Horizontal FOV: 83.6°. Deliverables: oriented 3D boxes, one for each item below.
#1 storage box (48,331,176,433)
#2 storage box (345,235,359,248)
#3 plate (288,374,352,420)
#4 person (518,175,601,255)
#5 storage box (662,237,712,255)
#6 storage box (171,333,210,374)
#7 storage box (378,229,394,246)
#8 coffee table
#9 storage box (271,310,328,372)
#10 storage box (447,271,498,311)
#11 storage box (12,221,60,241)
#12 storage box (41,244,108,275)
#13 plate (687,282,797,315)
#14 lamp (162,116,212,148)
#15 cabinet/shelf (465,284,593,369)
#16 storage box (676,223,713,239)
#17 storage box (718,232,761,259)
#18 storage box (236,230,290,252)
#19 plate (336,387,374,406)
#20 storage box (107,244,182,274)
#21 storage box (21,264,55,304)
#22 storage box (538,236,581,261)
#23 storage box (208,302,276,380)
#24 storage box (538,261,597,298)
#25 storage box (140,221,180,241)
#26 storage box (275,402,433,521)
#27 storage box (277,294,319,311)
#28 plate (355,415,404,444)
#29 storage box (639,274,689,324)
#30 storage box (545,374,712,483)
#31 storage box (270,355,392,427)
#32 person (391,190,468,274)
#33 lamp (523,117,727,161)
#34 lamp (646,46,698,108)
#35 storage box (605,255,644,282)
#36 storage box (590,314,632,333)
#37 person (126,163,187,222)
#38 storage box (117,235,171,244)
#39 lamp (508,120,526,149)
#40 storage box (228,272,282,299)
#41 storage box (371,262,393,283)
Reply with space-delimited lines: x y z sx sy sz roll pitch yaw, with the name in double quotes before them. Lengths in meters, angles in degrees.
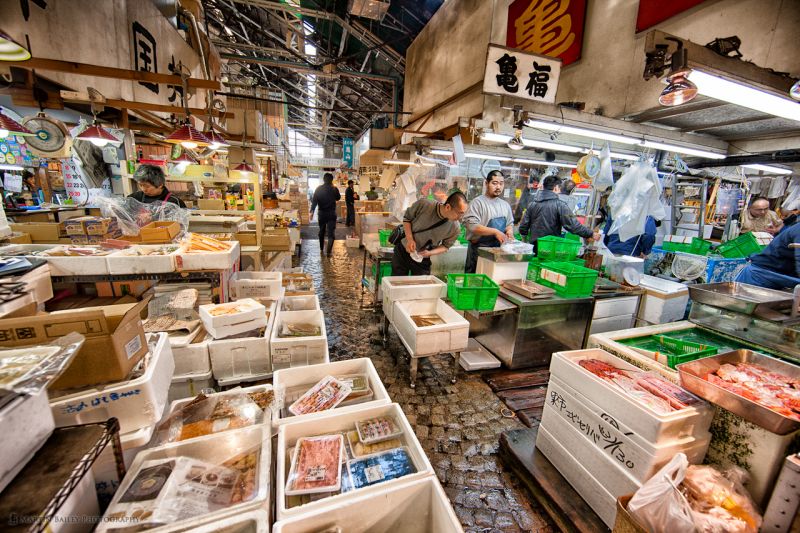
"storage box" -2.324 0.941 3.660 0.749 0.287 0.736 -2 18 -23
"storage box" -1.288 -0.669 12.089 0.341 0.230 0.316 3 6 0
"plate" -0.697 1.181 4.008 0.416 0.068 0.271 -25 35 -32
"person" 2.315 -0.827 6.724 1.215 1.064 0.680 9 16 32
"storage box" 4.757 -0.376 7.481 0.376 0.254 0.768 -2 12 -13
"storage box" -2.012 0.877 4.326 0.396 0.275 0.375 -3 6 -20
"storage box" -0.251 -0.483 7.601 0.287 0.178 0.406 0 7 -7
"coffee table" 0.392 1.129 5.515 0.755 0.514 1.123 -3 13 -20
"storage box" -1.042 0.619 4.656 0.558 0.521 0.803 -1 16 -16
"storage box" 0.852 0.283 5.528 0.460 0.234 0.566 2 7 -1
"storage box" -4.218 -0.413 5.338 0.463 0.227 0.307 4 3 -7
"storage box" -3.056 -0.049 4.234 0.554 0.249 0.380 -5 14 -26
"plate" 3.411 0.314 4.441 0.582 0.124 0.565 -5 9 -31
"lamp" -2.751 -1.775 5.828 0.485 0.342 0.598 -2 12 -9
"cabinet/shelf" 1.633 0.713 5.897 1.435 0.810 0.997 -1 13 -11
"storage box" 5.591 -0.678 8.532 0.502 0.290 0.499 8 6 44
"storage box" 5.227 -0.306 6.914 0.507 0.494 0.164 18 46 20
"storage box" -1.888 -0.352 6.171 0.699 0.279 0.282 -3 13 -16
"plate" -0.382 1.187 4.041 0.245 0.040 0.137 -6 12 -30
"storage box" -2.442 -0.054 4.349 0.658 0.234 0.242 -2 13 -13
"storage box" -3.121 0.139 3.961 0.469 0.327 0.270 9 11 39
"storage box" 2.066 -0.222 5.893 0.356 0.191 0.440 2 7 -3
"storage box" -1.597 0.775 4.460 0.603 0.462 1.000 -5 12 -19
"storage box" 2.079 0.166 5.505 0.448 0.270 0.584 -1 10 -12
"storage box" -2.461 -0.354 4.593 0.214 0.103 0.292 21 28 36
"storage box" -0.443 1.550 3.686 1.018 0.311 0.702 -6 36 -15
"storage box" -1.175 0.451 5.195 0.439 0.164 0.391 -2 12 -14
"plate" -0.182 1.392 3.814 0.313 0.078 0.177 -4 44 -12
"storage box" 3.527 0.417 6.050 0.623 0.425 0.601 -5 10 -31
"storage box" 1.974 1.135 3.994 0.740 0.807 1.238 3 12 -20
"storage box" -0.676 1.135 4.132 0.834 0.255 0.558 -6 27 -16
"person" 0.341 -0.425 6.123 1.075 1.211 0.522 3 14 11
"lamp" 3.409 -1.909 6.623 3.614 0.262 0.350 8 4 -12
"lamp" 2.683 -1.912 4.471 0.324 0.557 0.496 -12 18 -43
"storage box" 2.968 0.034 5.946 0.408 0.233 0.385 -4 14 -12
"storage box" 2.786 0.731 5.944 0.497 0.245 0.452 0 -1 -1
"person" -3.126 -0.978 5.725 0.775 0.632 0.419 14 29 12
"storage box" -2.606 -0.271 4.576 0.524 0.068 0.140 0 12 -2
"lamp" 1.632 -1.826 6.265 0.172 0.319 1.082 4 12 14
"storage box" -1.724 0.236 5.366 0.517 0.203 0.345 -2 14 -18
"storage box" -0.275 0.074 6.974 0.332 0.389 0.315 1 10 -9
